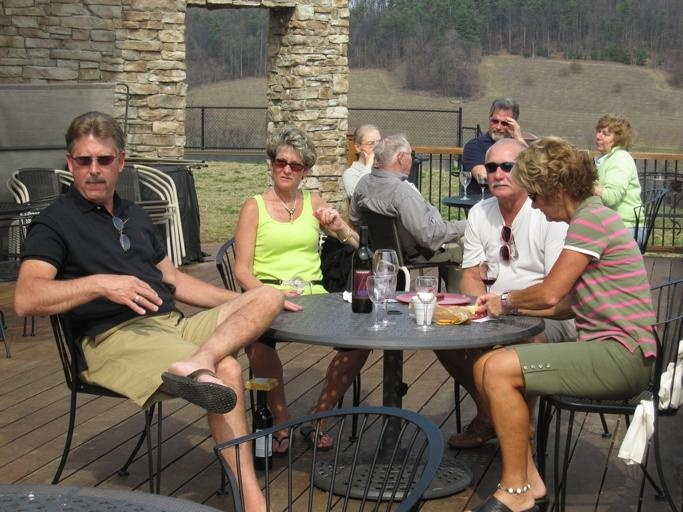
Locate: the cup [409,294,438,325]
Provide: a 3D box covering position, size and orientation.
[{"bbox_3d":[0.341,0.216,2.887,0.117,0.124,0.117,0,7,0],"label":"cup"}]

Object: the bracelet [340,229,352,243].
[{"bbox_3d":[0.029,-0.109,3.800,0.043,0.058,0.021,-7,23,-22],"label":"bracelet"}]

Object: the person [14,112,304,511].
[{"bbox_3d":[-0.777,0.053,2.869,1.007,1.299,0.884,3,10,19],"label":"person"}]

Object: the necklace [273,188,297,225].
[{"bbox_3d":[-0.281,-0.263,3.701,0.102,0.193,0.028,-11,-6,-12],"label":"necklace"}]

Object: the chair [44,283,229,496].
[{"bbox_3d":[-0.889,0.636,3.149,0.772,1.187,0.775,0,2,3],"label":"chair"}]

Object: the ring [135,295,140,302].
[{"bbox_3d":[-0.803,0.168,2.718,0.022,0.022,0.006,-11,-29,-6],"label":"ring"}]

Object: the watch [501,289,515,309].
[{"bbox_3d":[0.694,0.186,2.903,0.042,0.068,0.067,12,-5,26],"label":"watch"}]

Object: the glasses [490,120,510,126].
[{"bbox_3d":[1.528,-1.283,6.653,0.085,0.043,0.112,3,-5,26],"label":"glasses"}]

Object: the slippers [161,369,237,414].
[{"bbox_3d":[-0.501,0.488,2.429,0.286,0.149,0.103,3,10,19],"label":"slippers"}]

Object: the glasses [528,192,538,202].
[{"bbox_3d":[0.808,-0.250,2.910,0.032,0.028,0.029,-5,11,1],"label":"glasses"}]

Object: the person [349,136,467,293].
[{"bbox_3d":[0.422,-0.447,5.033,0.839,1.052,0.848,-25,34,-32],"label":"person"}]

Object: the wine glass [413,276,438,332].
[{"bbox_3d":[0.347,0.180,2.856,0.093,0.194,0.187,0,10,5],"label":"wine glass"}]
